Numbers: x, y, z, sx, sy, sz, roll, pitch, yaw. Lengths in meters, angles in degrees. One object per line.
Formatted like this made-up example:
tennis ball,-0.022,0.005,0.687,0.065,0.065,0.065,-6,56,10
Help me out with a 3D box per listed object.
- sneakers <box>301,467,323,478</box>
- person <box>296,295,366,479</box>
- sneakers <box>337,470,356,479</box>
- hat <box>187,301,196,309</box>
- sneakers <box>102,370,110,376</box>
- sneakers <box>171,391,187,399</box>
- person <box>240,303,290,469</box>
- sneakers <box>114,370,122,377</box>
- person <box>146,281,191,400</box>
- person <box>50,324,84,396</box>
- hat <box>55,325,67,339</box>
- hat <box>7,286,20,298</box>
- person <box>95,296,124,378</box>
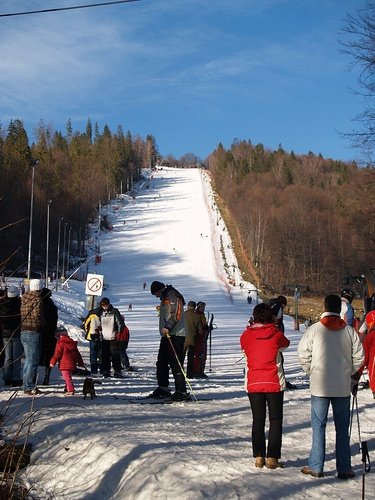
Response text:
sneakers,1.244,2.199,5.872,0.073,0.086,0.176,1,7,-33
person,1.494,1.373,6.091,0.664,1.805,0.594,-1,-1,6
sneakers,1.593,2.202,5.855,0.159,0.086,0.068,1,0,-39
hat,0.072,1.094,11.943,0.157,0.185,0.117,-6,10,-29
sneakers,-1.596,2.410,11.490,0.138,0.100,0.364,0,-1,-10
sneakers,-0.125,2.220,8.952,0.256,0.163,0.130,-1,-1,-3
person,0.790,1.405,6.201,0.485,1.660,0.547,-1,-1,23
sneakers,-1.375,2.439,11.585,0.162,0.139,0.411,-1,-1,-6
person,-0.301,1.400,9.021,0.610,1.820,0.637,0,-1,-26
person,-1.911,1.737,9.260,0.495,1.009,1.046,0,-1,-12
hat,-2.039,1.312,9.430,0.165,0.245,0.246,1,-26,-9
hat,-2.821,0.673,9.422,0.163,0.185,0.389,0,-1,-12
person,-1.533,1.730,11.657,0.485,1.565,0.674,0,-1,-22
